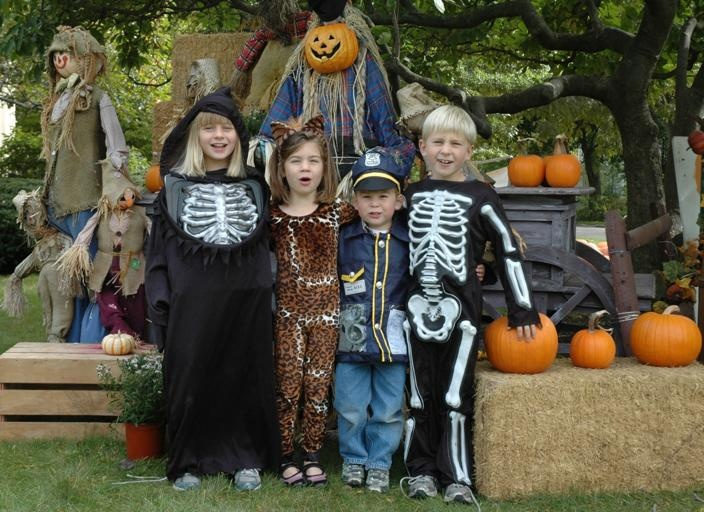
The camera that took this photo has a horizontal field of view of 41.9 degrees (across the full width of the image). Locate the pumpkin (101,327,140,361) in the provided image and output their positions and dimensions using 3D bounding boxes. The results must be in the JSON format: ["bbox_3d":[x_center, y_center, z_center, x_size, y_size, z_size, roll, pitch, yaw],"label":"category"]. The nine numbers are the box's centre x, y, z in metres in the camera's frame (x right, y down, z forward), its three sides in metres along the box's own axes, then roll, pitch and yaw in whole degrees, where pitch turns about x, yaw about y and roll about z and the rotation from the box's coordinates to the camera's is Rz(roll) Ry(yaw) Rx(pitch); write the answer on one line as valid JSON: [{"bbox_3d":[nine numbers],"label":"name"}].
[{"bbox_3d":[-1.748,0.675,6.980,0.195,0.138,0.197,4,8,26],"label":"pumpkin"}]

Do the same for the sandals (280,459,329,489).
[{"bbox_3d":[-0.333,1.490,6.311,0.316,0.155,0.170,1,3,6],"label":"sandals"}]

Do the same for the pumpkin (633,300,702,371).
[{"bbox_3d":[2.217,0.569,6.604,0.430,0.377,0.427,3,12,7],"label":"pumpkin"}]

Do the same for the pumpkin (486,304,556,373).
[{"bbox_3d":[1.164,0.583,6.317,0.412,0.384,0.423,0,-1,3],"label":"pumpkin"}]

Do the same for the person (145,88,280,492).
[{"bbox_3d":[-0.946,0.196,6.662,0.967,2.629,0.978,0,1,-5],"label":"person"}]

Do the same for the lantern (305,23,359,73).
[{"bbox_3d":[-0.152,-1.605,7.103,0.424,0.383,0.159,0,3,-2],"label":"lantern"}]

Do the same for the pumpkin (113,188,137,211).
[{"bbox_3d":[-1.825,-0.455,7.450,0.130,0.169,0.095,7,23,-23],"label":"pumpkin"}]

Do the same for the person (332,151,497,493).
[{"bbox_3d":[0.388,0.421,6.504,0.999,1.931,0.903,4,14,9],"label":"person"}]

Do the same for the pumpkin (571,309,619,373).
[{"bbox_3d":[1.704,0.593,6.511,0.302,0.382,0.283,1,3,13],"label":"pumpkin"}]

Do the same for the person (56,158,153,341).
[{"bbox_3d":[-1.952,-0.003,7.638,0.730,1.662,0.643,15,20,28],"label":"person"}]
